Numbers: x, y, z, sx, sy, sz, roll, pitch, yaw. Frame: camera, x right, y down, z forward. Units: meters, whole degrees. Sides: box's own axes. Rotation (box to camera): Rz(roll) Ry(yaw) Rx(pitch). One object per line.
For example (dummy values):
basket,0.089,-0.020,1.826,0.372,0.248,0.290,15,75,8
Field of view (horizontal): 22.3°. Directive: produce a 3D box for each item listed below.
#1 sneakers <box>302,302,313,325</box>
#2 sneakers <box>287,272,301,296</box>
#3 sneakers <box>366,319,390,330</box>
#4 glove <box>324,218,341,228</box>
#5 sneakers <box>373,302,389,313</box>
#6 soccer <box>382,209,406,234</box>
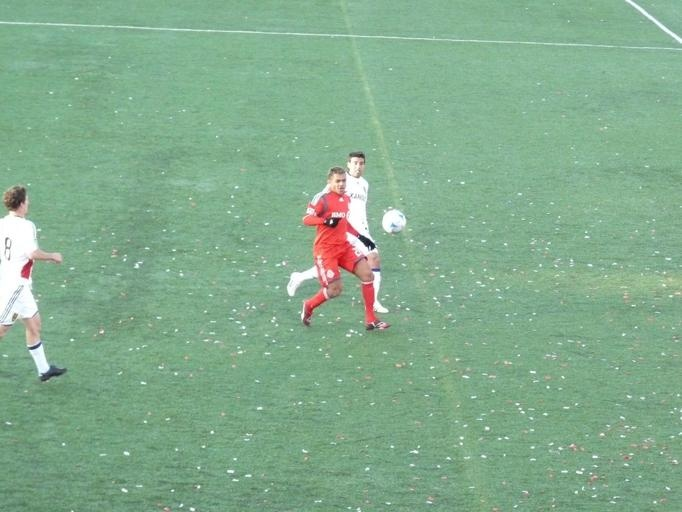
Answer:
sneakers,-0.583,0.865,26.208,0.164,0.326,0.179,2,18,-29
sneakers,-0.726,0.428,26.755,0.243,0.424,0.153,-6,59,-15
sneakers,0.503,1.043,26.151,0.401,0.138,0.135,-3,6,6
glove,-0.170,-0.508,25.887,0.228,0.153,0.077,2,27,-3
sneakers,0.558,0.792,26.621,0.142,0.075,0.246,-14,19,-38
soccer,0.782,-0.533,27.340,0.338,0.296,0.269,-22,56,12
